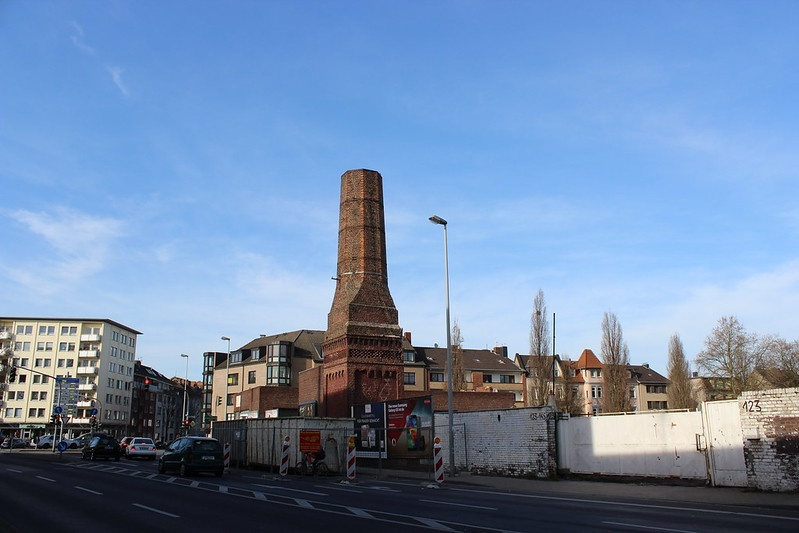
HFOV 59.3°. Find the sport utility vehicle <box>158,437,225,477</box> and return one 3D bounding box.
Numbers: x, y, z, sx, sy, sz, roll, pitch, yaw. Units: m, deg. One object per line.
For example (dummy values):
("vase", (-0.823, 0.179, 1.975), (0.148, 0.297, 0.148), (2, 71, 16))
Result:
("sport utility vehicle", (-10.982, 9.910, 36.911), (2.087, 1.430, 3.453), (13, -17, -40))

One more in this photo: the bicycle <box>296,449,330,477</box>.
("bicycle", (-4.804, 10.810, 38.557), (1.954, 1.216, 0.974), (0, -12, 6))
